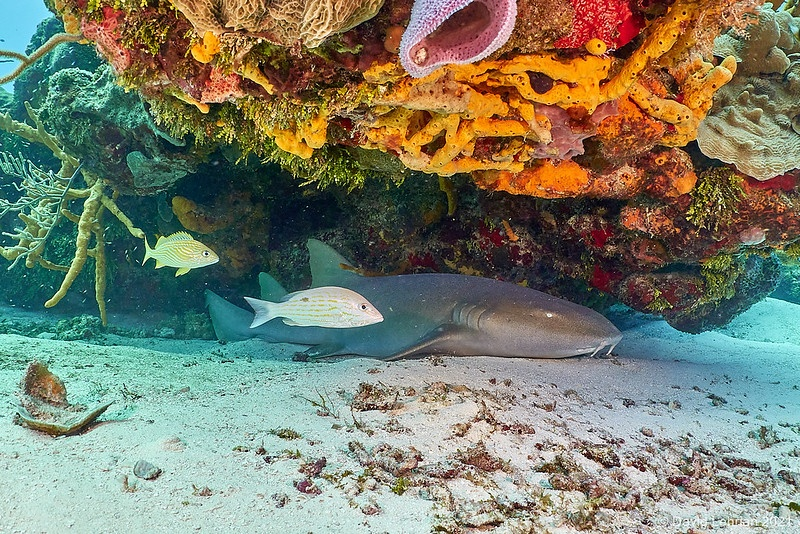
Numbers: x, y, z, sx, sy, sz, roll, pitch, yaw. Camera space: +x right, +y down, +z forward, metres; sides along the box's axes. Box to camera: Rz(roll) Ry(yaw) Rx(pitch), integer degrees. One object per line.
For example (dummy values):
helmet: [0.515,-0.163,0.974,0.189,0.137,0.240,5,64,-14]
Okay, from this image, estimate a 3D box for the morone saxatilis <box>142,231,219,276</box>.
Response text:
morone saxatilis: [-2.950,-0.205,9.139,1.045,0.593,0.375,1,8,1]
